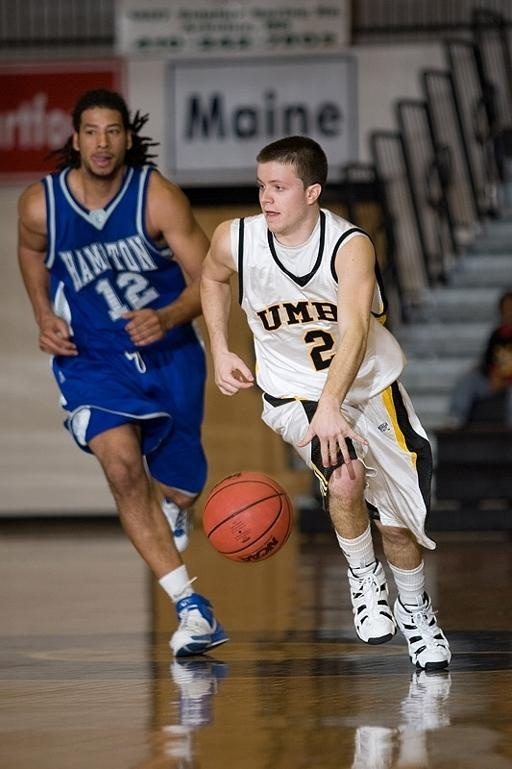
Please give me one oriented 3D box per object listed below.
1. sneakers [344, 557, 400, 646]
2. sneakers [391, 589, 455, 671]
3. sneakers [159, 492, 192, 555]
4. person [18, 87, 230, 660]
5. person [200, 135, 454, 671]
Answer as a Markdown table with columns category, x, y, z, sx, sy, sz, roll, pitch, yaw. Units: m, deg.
| category | x | y | z | sx | sy | sz | roll | pitch | yaw |
| --- | --- | --- | --- | --- | --- | --- | --- | --- | --- |
| sneakers | 0.226 | 0.465 | 1.708 | 0.083 | 0.084 | 0.216 | -10 | 1 | 1 |
| sneakers | 0.360 | 0.534 | 1.805 | 0.080 | 0.074 | 0.198 | -10 | 27 | -5 |
| sneakers | -0.236 | 0.412 | 2.397 | 0.067 | 0.175 | 0.083 | -21 | 1 | -43 |
| person | -0.282 | -0.035 | 2.132 | 0.435 | 1.412 | 0.557 | -6 | -11 | 29 |
| person | 0.182 | 0.051 | 1.777 | 0.517 | 1.117 | 0.495 | 5 | -11 | -33 |
